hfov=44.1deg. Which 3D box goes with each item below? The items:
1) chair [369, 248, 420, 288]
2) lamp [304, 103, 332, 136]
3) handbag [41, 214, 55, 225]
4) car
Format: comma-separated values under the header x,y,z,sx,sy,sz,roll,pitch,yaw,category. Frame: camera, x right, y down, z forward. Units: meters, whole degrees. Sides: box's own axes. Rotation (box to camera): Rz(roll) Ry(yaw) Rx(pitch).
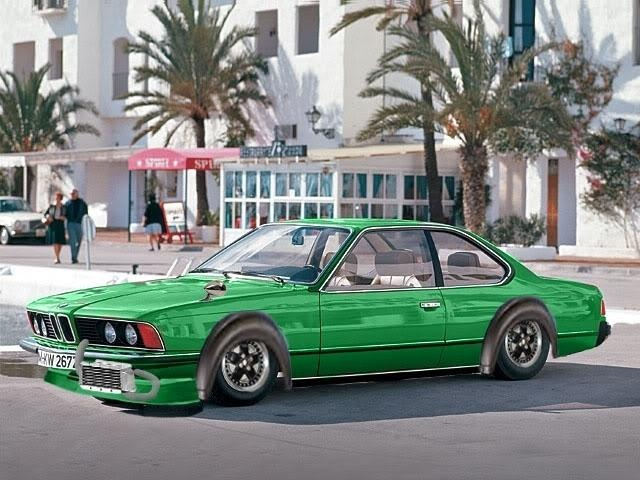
x,y,z,sx,sy,sz,roll,pitch,yaw,category
0.789,0.337,8.125,0.404,0.387,0.427,2,-24,3,chair
-0.014,-5.426,36.595,1.136,1.482,0.904,1,12,-10,lamp
-8.114,-0.565,23.724,0.338,0.374,0.131,-25,-9,4,handbag
0.022,0.661,7.824,5.336,1.718,1.306,-1,3,-27,car
